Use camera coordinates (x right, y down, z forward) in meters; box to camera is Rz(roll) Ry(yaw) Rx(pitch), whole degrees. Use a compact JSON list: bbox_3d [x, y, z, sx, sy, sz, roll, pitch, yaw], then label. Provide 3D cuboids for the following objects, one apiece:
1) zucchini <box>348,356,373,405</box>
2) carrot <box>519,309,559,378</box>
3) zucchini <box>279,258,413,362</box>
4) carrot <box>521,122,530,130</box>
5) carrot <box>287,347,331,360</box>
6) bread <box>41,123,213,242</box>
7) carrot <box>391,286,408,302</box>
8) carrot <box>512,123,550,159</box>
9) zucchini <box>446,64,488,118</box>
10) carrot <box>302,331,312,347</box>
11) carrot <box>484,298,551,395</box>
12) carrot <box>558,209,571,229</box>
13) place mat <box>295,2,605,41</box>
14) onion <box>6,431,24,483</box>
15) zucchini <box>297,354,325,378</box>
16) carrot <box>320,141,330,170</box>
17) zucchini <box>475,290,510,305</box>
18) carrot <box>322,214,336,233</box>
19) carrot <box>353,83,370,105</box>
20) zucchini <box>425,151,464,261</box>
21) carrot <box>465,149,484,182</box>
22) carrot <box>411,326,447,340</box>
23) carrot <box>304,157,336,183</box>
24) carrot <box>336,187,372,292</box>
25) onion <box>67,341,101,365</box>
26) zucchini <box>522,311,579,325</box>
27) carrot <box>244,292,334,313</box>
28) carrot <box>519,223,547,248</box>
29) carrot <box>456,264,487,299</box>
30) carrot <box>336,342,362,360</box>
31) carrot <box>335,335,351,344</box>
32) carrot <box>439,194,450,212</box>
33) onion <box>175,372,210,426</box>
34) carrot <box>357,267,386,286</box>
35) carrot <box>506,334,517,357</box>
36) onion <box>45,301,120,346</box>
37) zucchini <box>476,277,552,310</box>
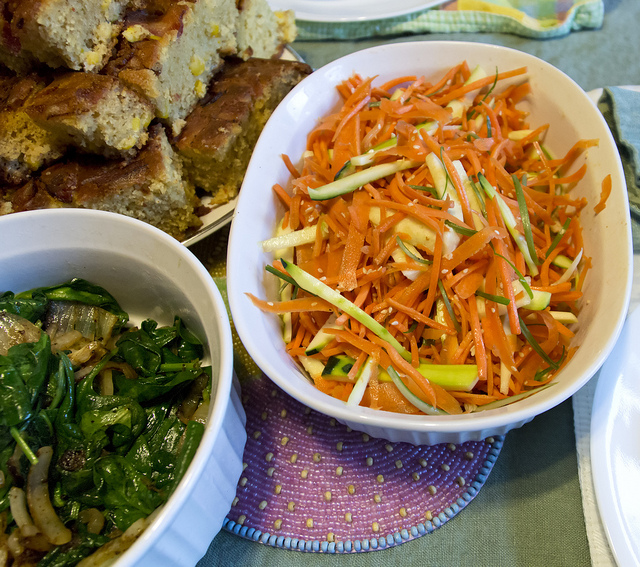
[{"bbox_3d":[0.074,0.176,1.160,0.023,0.015,0.100,26,53,-4],"label":"zucchini"},{"bbox_3d":[0.407,0.108,1.165,0.037,0.107,0.076,13,25,-34],"label":"carrot"},{"bbox_3d":[0.056,0.054,1.209,0.276,0.022,0.040,37,54,12],"label":"zucchini"},{"bbox_3d":[0.453,-0.348,1.413,0.010,0.015,0.016,1,66,11],"label":"carrot"},{"bbox_3d":[-0.025,0.132,1.216,0.101,0.025,0.018,5,44,3],"label":"carrot"},{"bbox_3d":[-0.412,-0.187,1.440,0.272,0.180,0.285,6,50,21],"label":"bread"},{"bbox_3d":[0.149,0.019,1.178,0.021,0.021,0.005,-38,101,9],"label":"carrot"},{"bbox_3d":[0.449,-0.303,1.376,0.028,0.069,0.077,44,83,6],"label":"carrot"},{"bbox_3d":[0.321,-0.416,1.396,0.043,0.034,0.150,31,96,-13],"label":"zucchini"},{"bbox_3d":[-0.027,0.106,1.239,0.022,0.007,0.026,0,69,11],"label":"carrot"},{"bbox_3d":[0.378,0.124,1.204,0.043,0.111,0.173,-25,96,-32],"label":"carrot"},{"bbox_3d":[0.482,-0.129,1.275,0.024,0.008,0.034,-2,86,12],"label":"carrot"},{"bbox_3d":[0.447,-0.758,1.850,0.613,0.057,0.153,-3,37,3],"label":"place mat"},{"bbox_3d":[-0.517,0.294,1.094,0.023,0.020,0.083,11,86,-29],"label":"onion"},{"bbox_3d":[-0.020,0.156,1.218,0.040,0.008,0.043,4,72,10],"label":"zucchini"},{"bbox_3d":[0.009,-0.281,1.382,0.012,0.049,0.050,-9,58,5],"label":"carrot"},{"bbox_3d":[0.312,0.024,1.164,0.066,0.010,0.017,26,78,41],"label":"zucchini"},{"bbox_3d":[0.019,-0.122,1.278,0.013,0.014,0.052,-19,67,-20],"label":"carrot"},{"bbox_3d":[0.092,-0.409,1.407,0.009,0.040,0.039,41,117,-6],"label":"carrot"},{"bbox_3d":[0.227,-0.151,1.242,0.042,0.042,0.220,-4,72,-16],"label":"zucchini"},{"bbox_3d":[0.303,-0.239,1.258,0.019,0.022,0.088,0,66,-13],"label":"carrot"},{"bbox_3d":[0.204,0.088,1.205,0.065,0.024,0.023,2,100,30],"label":"carrot"},{"bbox_3d":[-0.006,-0.235,1.338,0.025,0.019,0.088,-31,62,-34],"label":"carrot"},{"bbox_3d":[0.057,-0.079,1.225,0.056,0.028,0.205,7,72,5],"label":"carrot"},{"bbox_3d":[-0.452,0.133,1.224,0.020,0.056,0.022,-3,102,32],"label":"onion"},{"bbox_3d":[0.425,0.063,1.184,0.099,0.021,0.027,1,24,0],"label":"zucchini"},{"bbox_3d":[-0.059,0.036,1.215,0.091,0.018,0.026,6,42,-9],"label":"carrot"},{"bbox_3d":[0.411,-0.089,1.244,0.038,0.020,0.057,-3,49,4],"label":"carrot"},{"bbox_3d":[0.276,0.000,1.183,0.027,0.015,0.092,39,63,6],"label":"carrot"},{"bbox_3d":[0.059,0.126,1.205,0.033,0.012,0.033,29,62,8],"label":"carrot"},{"bbox_3d":[0.037,0.103,1.198,0.018,0.018,0.007,-14,51,40],"label":"carrot"},{"bbox_3d":[0.234,-0.147,1.193,0.007,0.022,0.021,17,44,-30],"label":"carrot"},{"bbox_3d":[-0.238,0.216,1.242,0.037,0.032,0.125,29,56,-12],"label":"onion"},{"bbox_3d":[0.094,-0.015,1.216,0.043,0.011,0.011,-37,94,17],"label":"carrot"},{"bbox_3d":[0.347,0.110,1.167,0.022,0.011,0.032,-3,88,-25],"label":"carrot"},{"bbox_3d":[-0.471,0.073,1.275,0.120,0.036,0.071,19,84,-22],"label":"onion"},{"bbox_3d":[0.366,0.020,1.164,0.092,0.030,0.065,9,50,16],"label":"zucchini"}]
